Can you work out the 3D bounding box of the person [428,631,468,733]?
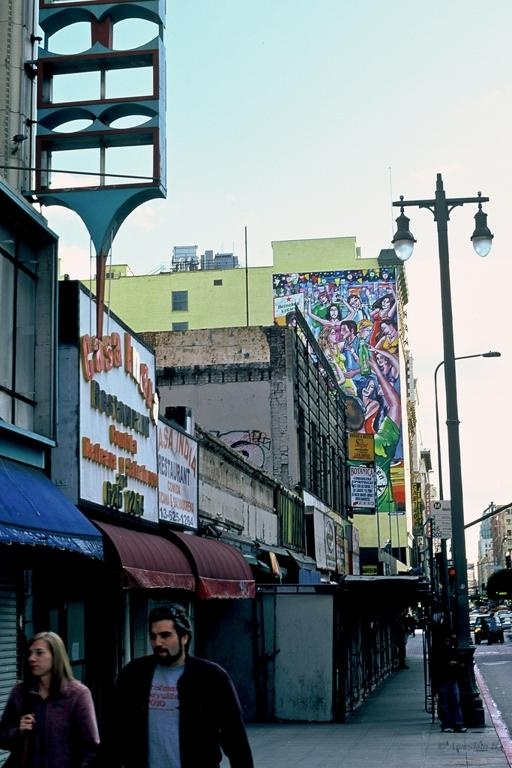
[{"bbox_3d":[2.676,4.057,16.884,0.407,1.552,0.421,-2,-6,-11],"label":"person"}]
